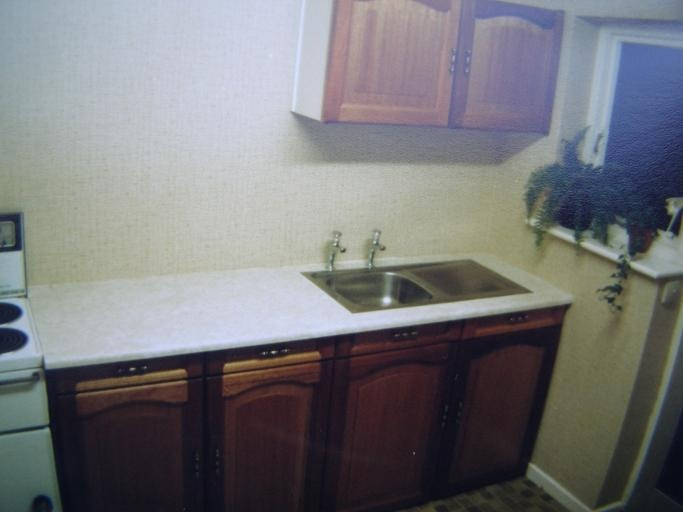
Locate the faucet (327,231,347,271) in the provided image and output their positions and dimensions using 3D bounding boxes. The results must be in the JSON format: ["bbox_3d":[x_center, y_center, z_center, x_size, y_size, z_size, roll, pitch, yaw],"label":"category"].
[{"bbox_3d":[-0.016,-0.039,2.158,0.080,0.169,0.144,3,18,-1],"label":"faucet"}]

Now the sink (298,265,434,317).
[{"bbox_3d":[0.106,0.161,2.357,0.548,0.175,0.545,-3,-6,-17],"label":"sink"}]

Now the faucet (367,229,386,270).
[{"bbox_3d":[0.149,-0.047,2.225,0.077,0.171,0.156,5,18,4],"label":"faucet"}]
